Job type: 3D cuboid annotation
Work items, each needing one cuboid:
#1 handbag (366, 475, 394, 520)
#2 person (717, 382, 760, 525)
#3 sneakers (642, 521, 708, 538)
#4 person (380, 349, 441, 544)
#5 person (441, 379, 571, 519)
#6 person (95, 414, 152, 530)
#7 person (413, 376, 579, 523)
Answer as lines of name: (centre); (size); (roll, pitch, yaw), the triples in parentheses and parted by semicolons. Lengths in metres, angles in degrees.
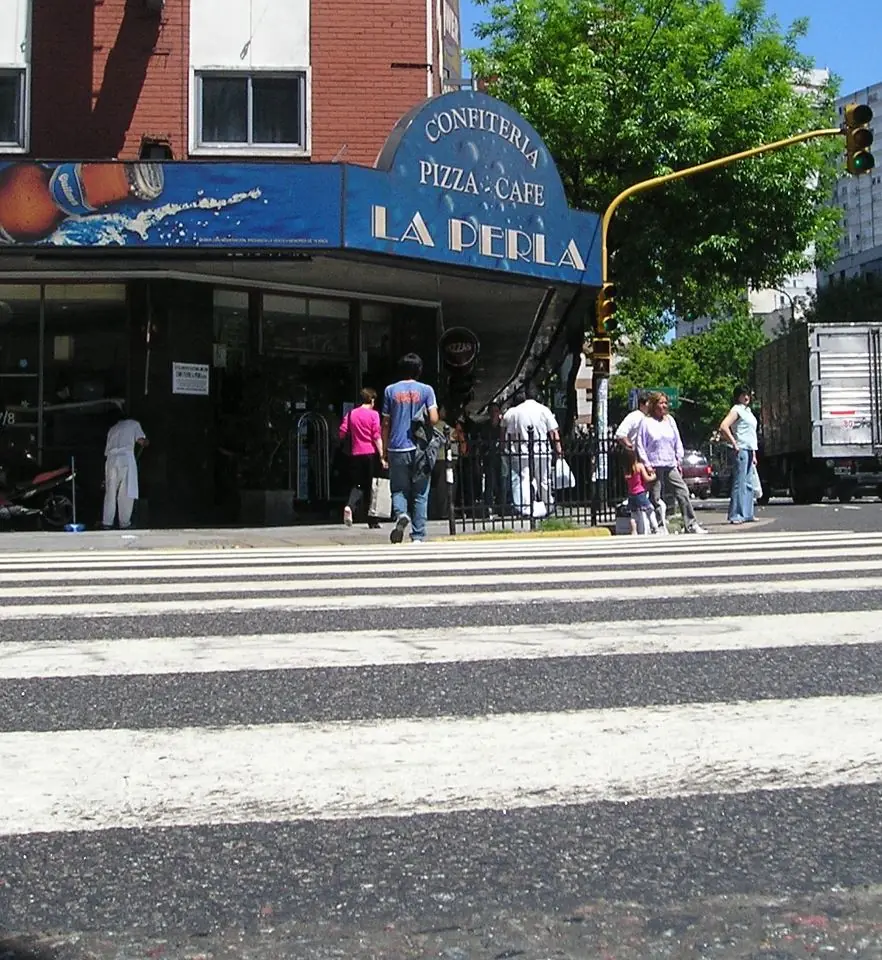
handbag: (-0.517, 0.162, 14.337); (0.276, 0.570, 0.291); (0, 3, 2)
person: (3.203, -0.278, 17.393); (0.380, 1.476, 1.254); (1, 2, 12)
sneakers: (2.036, 0.430, 14.251); (0.347, 0.174, 0.117); (-3, -1, -6)
person: (-0.250, -0.251, 13.086); (0.426, 1.544, 1.398); (0, 2, -2)
person: (0.630, -0.290, 15.490); (1.055, 1.352, 1.144); (1, 4, -8)
person: (-3.303, -0.108, 16.991); (0.419, 1.207, 1.108); (0, 2, -12)
person: (0.486, -0.258, 15.420); (1.154, 1.099, 1.215); (-4, -3, 32)
